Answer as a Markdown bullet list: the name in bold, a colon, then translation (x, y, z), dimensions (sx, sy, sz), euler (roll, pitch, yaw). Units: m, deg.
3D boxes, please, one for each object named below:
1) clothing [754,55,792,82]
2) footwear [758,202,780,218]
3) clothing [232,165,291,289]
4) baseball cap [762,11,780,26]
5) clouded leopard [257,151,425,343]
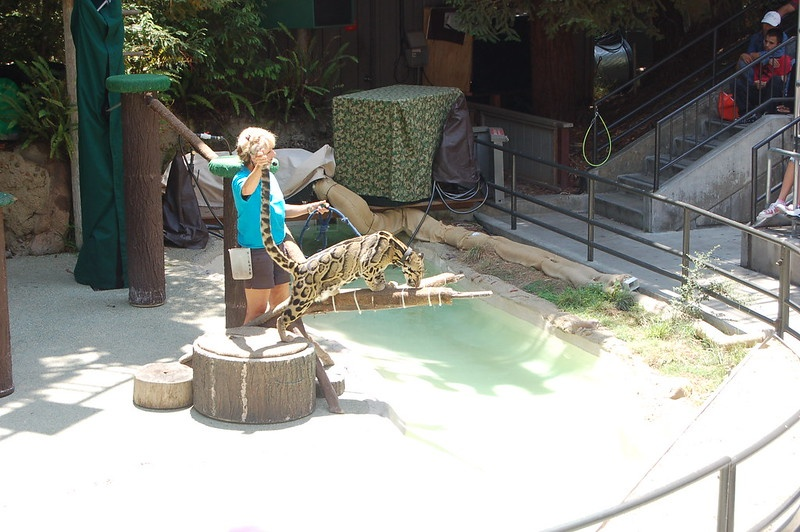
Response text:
- **clothing**: translation (6.488, -3.408, 13.307), dimensions (0.647, 0.278, 0.511), euler (-9, 16, 21)
- **footwear**: translation (5.227, -0.771, 10.916), dimensions (0.319, 0.127, 0.117), euler (-30, 24, -10)
- **clothing**: translation (-1.392, -0.380, 7.540), dimensions (0.397, 1.138, 0.610), euler (1, 0, 3)
- **baseball cap**: translation (6.525, -4.320, 13.470), dimensions (0.237, 0.182, 0.327), euler (16, 23, 28)
- **clouded leopard**: translation (-0.432, 0.005, 7.449), dimensions (1.753, 2.200, 1.000), euler (-9, -11, 40)
